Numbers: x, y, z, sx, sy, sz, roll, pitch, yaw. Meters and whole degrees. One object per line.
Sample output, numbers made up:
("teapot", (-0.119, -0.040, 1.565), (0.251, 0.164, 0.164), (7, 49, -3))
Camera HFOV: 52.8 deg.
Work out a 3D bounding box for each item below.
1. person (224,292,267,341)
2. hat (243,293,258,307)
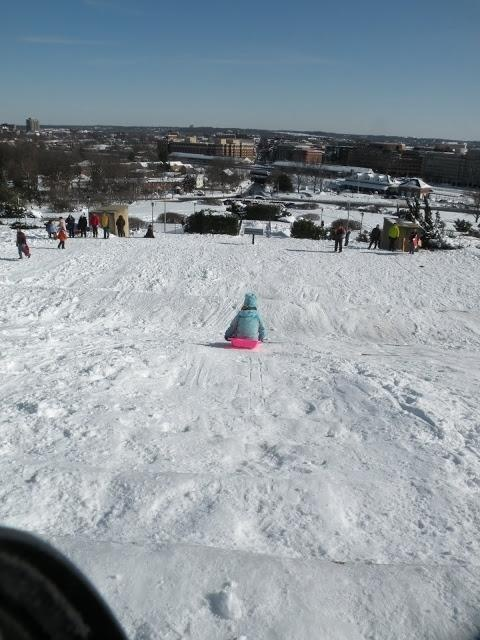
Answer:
("person", (0.143, -0.038, 9.465), (0.475, 1.030, 0.704), (-4, 11, -36))
("hat", (0.212, -0.369, 9.188), (0.244, 0.270, 0.213), (4, 1, -10))
